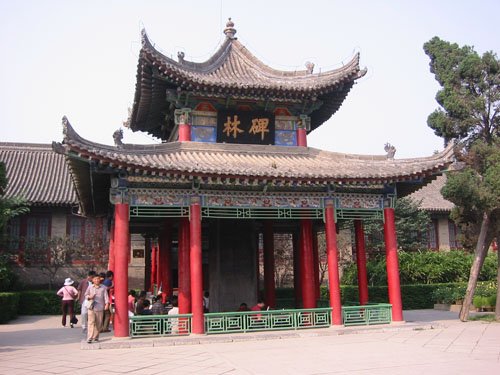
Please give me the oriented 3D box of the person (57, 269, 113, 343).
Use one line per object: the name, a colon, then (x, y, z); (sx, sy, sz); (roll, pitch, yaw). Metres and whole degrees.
person: (-4.931, 3.880, 16.758); (0.635, 2.103, 0.949); (1, 2, 14)
